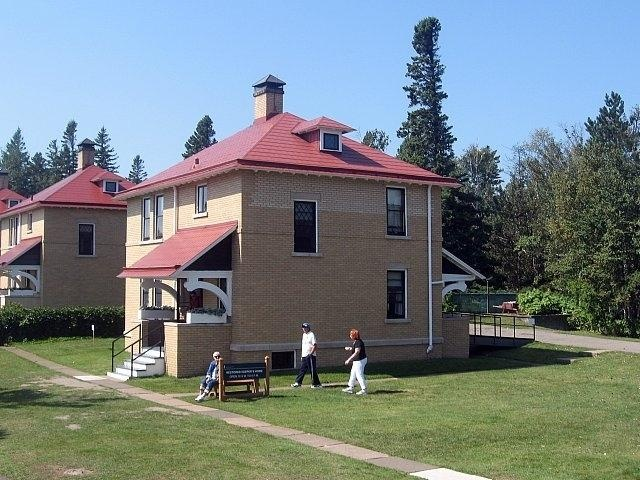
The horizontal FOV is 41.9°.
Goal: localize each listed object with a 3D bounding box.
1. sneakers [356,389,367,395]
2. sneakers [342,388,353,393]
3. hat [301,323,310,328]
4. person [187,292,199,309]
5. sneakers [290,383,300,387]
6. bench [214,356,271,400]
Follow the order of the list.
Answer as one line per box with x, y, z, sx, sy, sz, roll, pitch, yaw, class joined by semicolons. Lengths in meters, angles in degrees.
1.367;5.197;28.531;0.146;0.163;0.360;3;-1;-30;sneakers
0.928;5.218;28.961;0.144;0.167;0.400;2;-3;-21;sneakers
-0.552;3.011;29.946;0.282;0.233;0.223;-15;-15;39;hat
-5.410;2.550;35.880;0.436;0.766;0.365;2;-9;-11;person
-0.899;5.213;30.046;0.131;0.150;0.333;3;-10;-21;sneakers
-2.698;4.827;28.925;1.839;1.415;2.394;0;-10;-5;bench
